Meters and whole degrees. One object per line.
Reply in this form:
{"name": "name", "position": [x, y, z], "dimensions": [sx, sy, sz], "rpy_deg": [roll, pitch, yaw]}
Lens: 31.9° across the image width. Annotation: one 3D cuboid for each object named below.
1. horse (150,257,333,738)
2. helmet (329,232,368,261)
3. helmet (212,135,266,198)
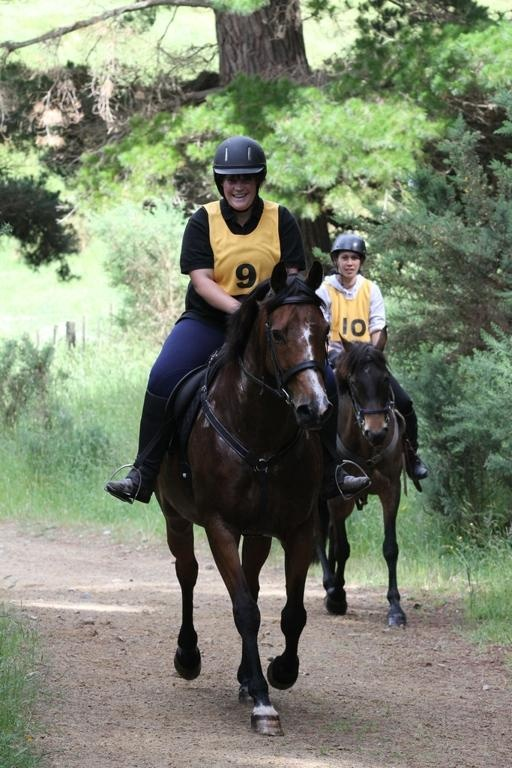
{"name": "horse", "position": [-0.076, 0.620, 4.575], "dimensions": [0.808, 2.284, 2.080], "rpy_deg": [5, -4, -7]}
{"name": "helmet", "position": [0.828, -1.205, 7.879], "dimensions": [0.261, 0.211, 0.283], "rpy_deg": [4, 11, -2]}
{"name": "helmet", "position": [-0.092, -1.227, 4.964], "dimensions": [0.293, 0.351, 0.289], "rpy_deg": [4, -4, 5]}
